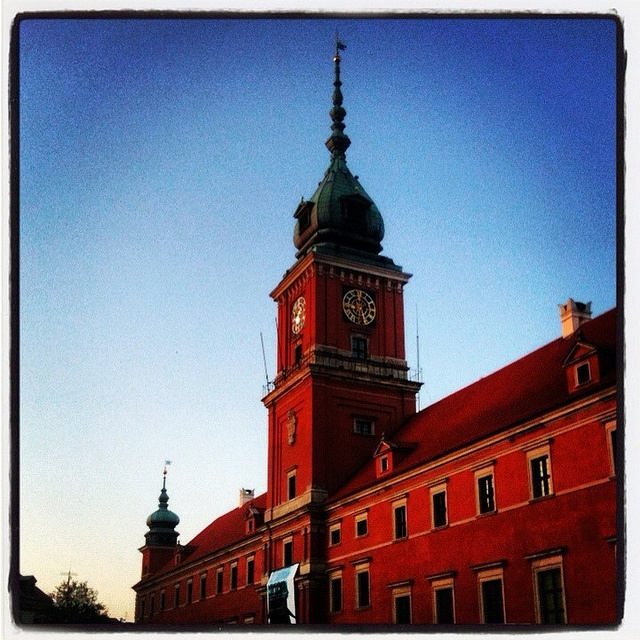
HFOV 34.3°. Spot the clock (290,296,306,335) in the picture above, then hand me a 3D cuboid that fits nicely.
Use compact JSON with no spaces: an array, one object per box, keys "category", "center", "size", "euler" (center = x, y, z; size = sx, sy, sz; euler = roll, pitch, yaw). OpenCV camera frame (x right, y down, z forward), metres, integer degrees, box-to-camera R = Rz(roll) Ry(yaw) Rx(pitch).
[{"category":"clock","center":[-0.916,-0.161,42.383],"size":[0.143,1.858,1.914],"euler":[8,-27,-16]}]

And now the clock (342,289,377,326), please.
[{"category":"clock","center":[1.497,-0.474,41.660],"size":[1.275,1.538,0.130],"euler":[1,-23,-41]}]
